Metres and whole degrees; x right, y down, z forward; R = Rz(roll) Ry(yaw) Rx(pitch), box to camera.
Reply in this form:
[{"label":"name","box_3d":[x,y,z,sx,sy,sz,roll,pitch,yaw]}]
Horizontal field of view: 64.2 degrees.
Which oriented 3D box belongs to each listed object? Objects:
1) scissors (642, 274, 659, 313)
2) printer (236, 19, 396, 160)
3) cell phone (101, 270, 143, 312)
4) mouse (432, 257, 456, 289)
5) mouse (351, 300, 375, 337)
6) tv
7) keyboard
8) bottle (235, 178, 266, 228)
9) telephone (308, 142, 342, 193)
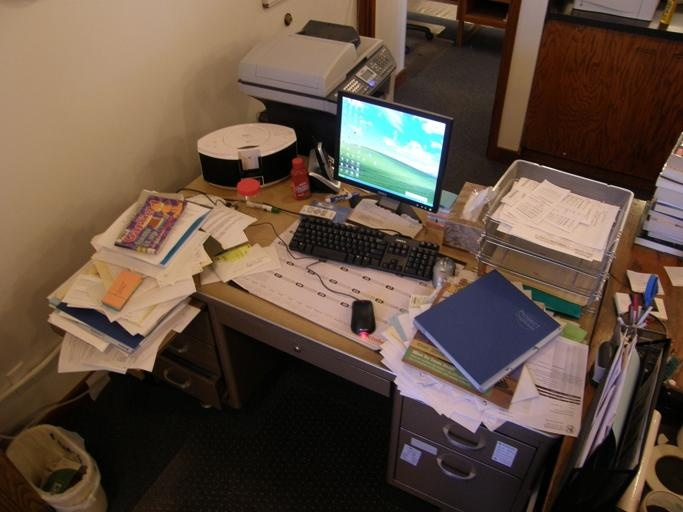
[{"label":"scissors","box_3d":[1.092,0.138,1.925,0.038,0.036,0.126,20,84,-20]},{"label":"printer","box_3d":[-0.102,-0.725,2.954,0.566,0.666,0.902,20,52,17]},{"label":"cell phone","box_3d":[-0.817,0.123,2.016,0.104,0.038,0.160,19,51,17]},{"label":"mouse","box_3d":[0.383,0.057,2.061,0.065,0.040,0.121,2,53,14]},{"label":"mouse","box_3d":[0.075,0.223,1.963,0.085,0.036,0.159,-1,49,0]},{"label":"tv","box_3d":[0.193,-0.352,2.245,0.588,0.609,0.205,22,55,17]},{"label":"keyboard","box_3d":[0.085,-0.032,2.176,0.582,0.064,0.167,14,50,13]},{"label":"bottle","box_3d":[-0.403,-0.293,2.409,0.100,0.100,0.109,-17,56,-18]},{"label":"telephone","box_3d":[-0.054,-0.385,2.515,0.171,0.177,0.272,1,55,3]}]
